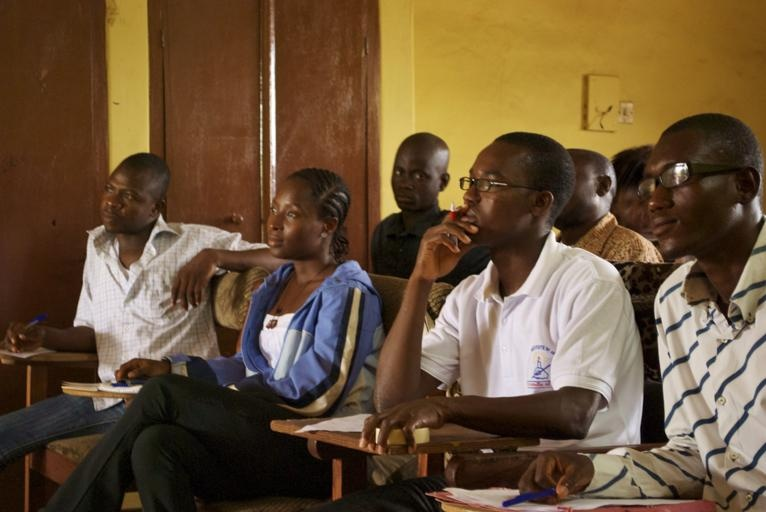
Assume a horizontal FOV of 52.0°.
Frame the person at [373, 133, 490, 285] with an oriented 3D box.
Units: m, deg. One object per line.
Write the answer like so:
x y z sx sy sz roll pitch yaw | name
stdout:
0.280 -0.293 4.813 0.999 0.811 0.514 10 7 41 | person

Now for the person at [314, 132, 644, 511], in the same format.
0.509 0.383 3.334 1.333 1.693 0.988 12 -18 -24 | person
